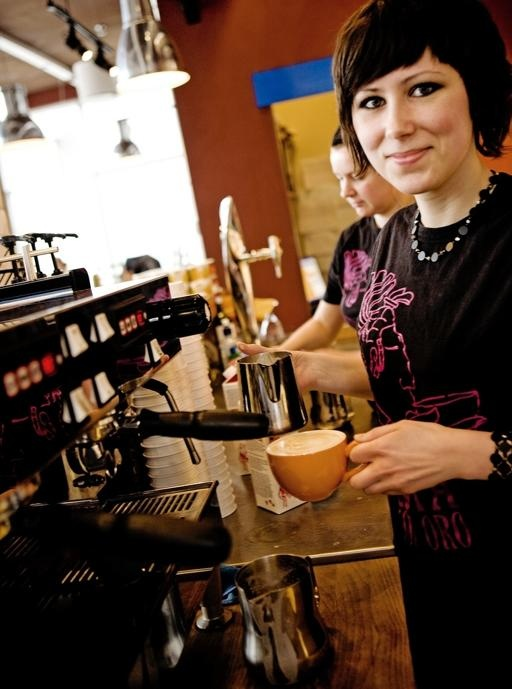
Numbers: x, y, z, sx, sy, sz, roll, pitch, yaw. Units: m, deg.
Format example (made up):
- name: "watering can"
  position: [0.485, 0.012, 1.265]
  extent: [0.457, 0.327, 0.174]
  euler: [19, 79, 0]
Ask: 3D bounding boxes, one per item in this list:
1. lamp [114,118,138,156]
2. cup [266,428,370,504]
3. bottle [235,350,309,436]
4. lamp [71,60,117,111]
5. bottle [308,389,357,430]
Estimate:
- name: "lamp"
  position: [-1.294, -2.009, 5.388]
  extent: [0.218, 0.305, 0.317]
  euler: [-12, 6, -9]
- name: "cup"
  position: [0.076, 0.166, 0.726]
  extent: [0.106, 0.085, 0.100]
  euler: [-10, 6, 1]
- name: "bottle"
  position: [0.021, 0.057, 0.653]
  extent: [0.065, 0.092, 0.100]
  euler: [-13, 13, 3]
- name: "lamp"
  position: [-1.173, -1.981, 4.206]
  extent: [0.274, 0.249, 0.199]
  euler: [-1, 28, 11]
- name: "bottle"
  position: [0.215, 0.174, 1.535]
  extent: [0.140, 0.123, 0.079]
  euler: [-2, 6, 20]
